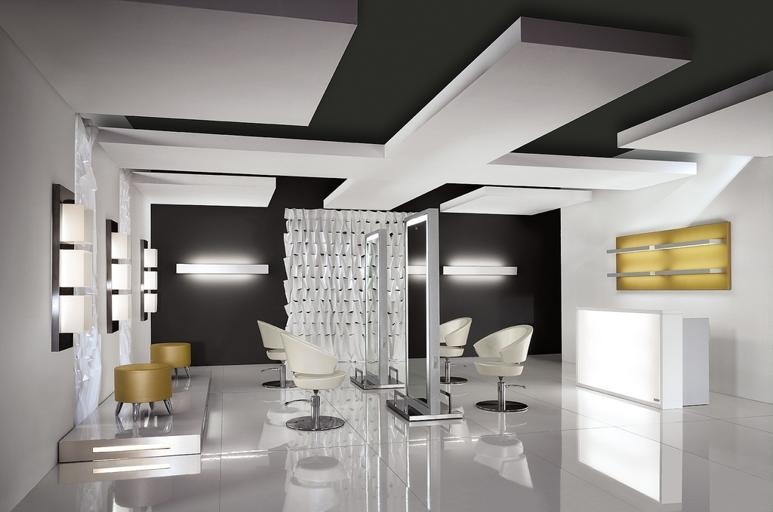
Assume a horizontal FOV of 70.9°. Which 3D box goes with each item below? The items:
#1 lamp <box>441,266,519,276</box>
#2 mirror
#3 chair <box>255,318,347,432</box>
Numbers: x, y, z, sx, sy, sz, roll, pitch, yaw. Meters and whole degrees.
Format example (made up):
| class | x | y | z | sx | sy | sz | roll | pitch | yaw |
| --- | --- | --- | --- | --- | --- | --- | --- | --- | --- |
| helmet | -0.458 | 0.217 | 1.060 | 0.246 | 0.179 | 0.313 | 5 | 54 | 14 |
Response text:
| class | x | y | z | sx | sy | sz | roll | pitch | yaw |
| --- | --- | --- | --- | --- | --- | --- | --- | --- | --- |
| lamp | 2.336 | 0.399 | 13.711 | 2.036 | 0.242 | 0.464 | 0 | 0 | -22 |
| mirror | 0.393 | 0.841 | 8.385 | 0.739 | 2.994 | 1.673 | 0 | 1 | -8 |
| chair | -1.305 | 1.730 | 8.143 | 1.421 | 1.631 | 1.379 | 3 | -6 | -19 |
